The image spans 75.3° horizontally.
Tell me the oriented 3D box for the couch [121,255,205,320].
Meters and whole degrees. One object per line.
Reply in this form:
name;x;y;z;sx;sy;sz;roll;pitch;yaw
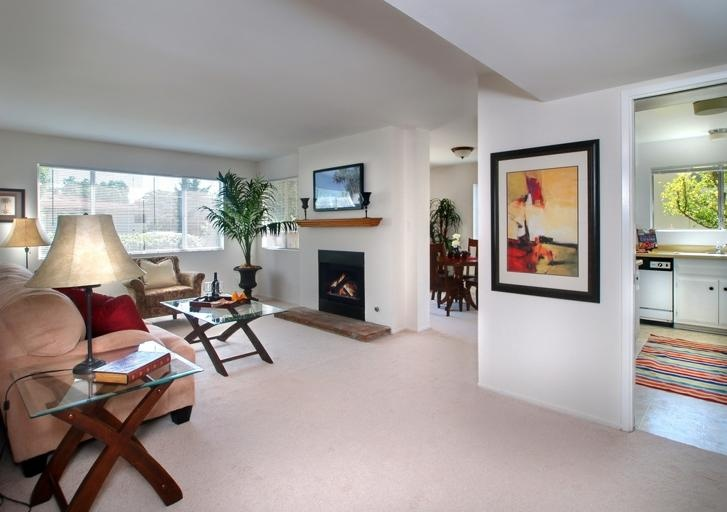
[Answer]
couch;-2.979;0.503;6.941;0.979;0.994;0.773;-7;3;-39

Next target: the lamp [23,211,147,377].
lamp;-2.025;0.278;3.497;0.710;1.165;0.732;4;7;29

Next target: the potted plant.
potted plant;-2.014;-0.382;7.930;2.153;2.261;1.305;4;8;37

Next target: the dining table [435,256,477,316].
dining table;1.519;0.446;7.519;0.834;0.754;0.658;1;-10;24

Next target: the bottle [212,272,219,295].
bottle;-1.844;0.353;5.853;0.085;0.264;0.280;-3;7;-13

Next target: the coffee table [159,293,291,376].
coffee table;-1.644;0.881;5.511;1.167;0.587;0.840;8;9;43

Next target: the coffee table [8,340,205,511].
coffee table;-1.873;1.171;3.522;1.213;1.077;1.089;1;9;-37

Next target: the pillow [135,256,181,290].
pillow;-2.907;0.249;6.655;0.418;0.349;0.199;-8;-1;-40

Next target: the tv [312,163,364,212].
tv;-0.358;-0.990;6.826;0.970;0.642;0.085;5;10;41

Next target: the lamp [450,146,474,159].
lamp;1.572;-1.678;7.588;0.201;0.090;0.198;3;-4;-34
